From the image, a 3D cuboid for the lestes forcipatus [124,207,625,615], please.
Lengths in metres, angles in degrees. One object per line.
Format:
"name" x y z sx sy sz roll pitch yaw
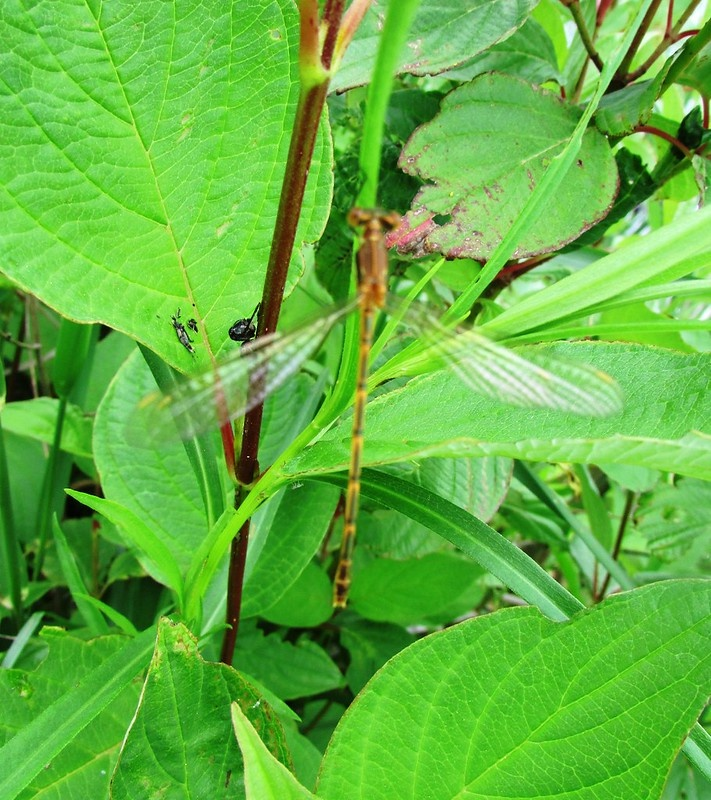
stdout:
"lestes forcipatus" 0.036 0.013 0.879 0.521 0.336 0.140 -1 -3 0
